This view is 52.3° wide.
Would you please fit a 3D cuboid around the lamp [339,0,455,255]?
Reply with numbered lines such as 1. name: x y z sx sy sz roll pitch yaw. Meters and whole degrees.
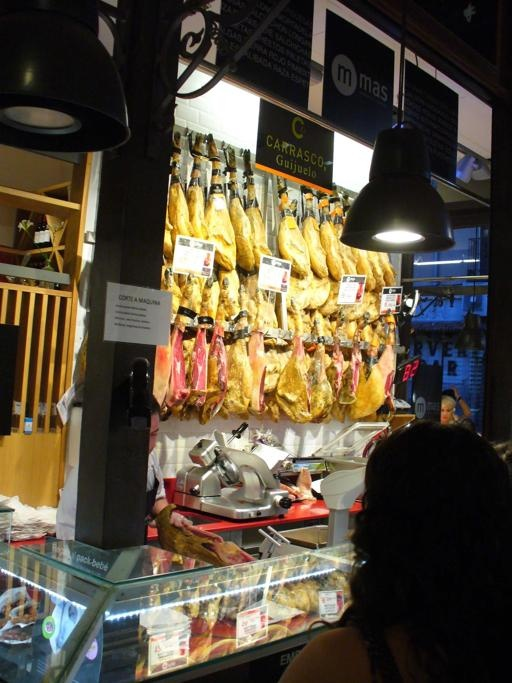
1. lamp: 0.620 -0.869 2.257 0.482 0.902 0.456 3 -3 21
